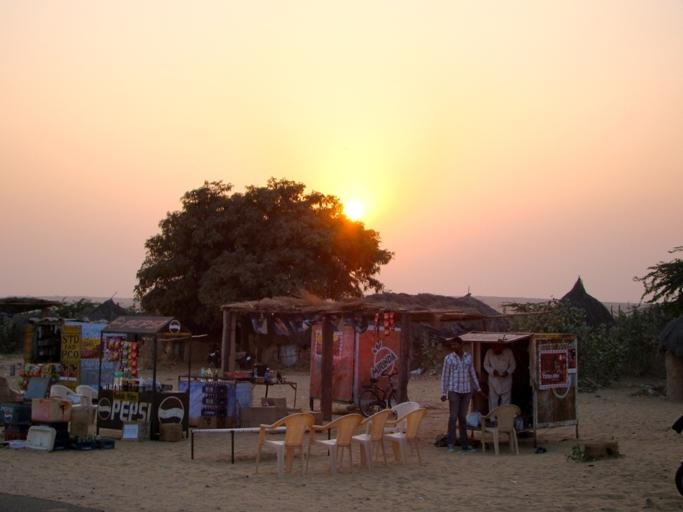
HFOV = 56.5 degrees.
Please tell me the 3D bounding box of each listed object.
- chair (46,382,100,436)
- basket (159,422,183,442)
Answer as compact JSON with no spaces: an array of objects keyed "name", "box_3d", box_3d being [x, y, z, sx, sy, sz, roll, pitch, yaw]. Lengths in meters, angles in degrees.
[{"name":"chair","box_3d":[-5.698,3.305,13.535,0.889,1.092,2.261,5,-15,-23]},{"name":"basket","box_3d":[-3.772,3.887,14.052,0.369,0.377,0.362,3,-4,-32]}]
